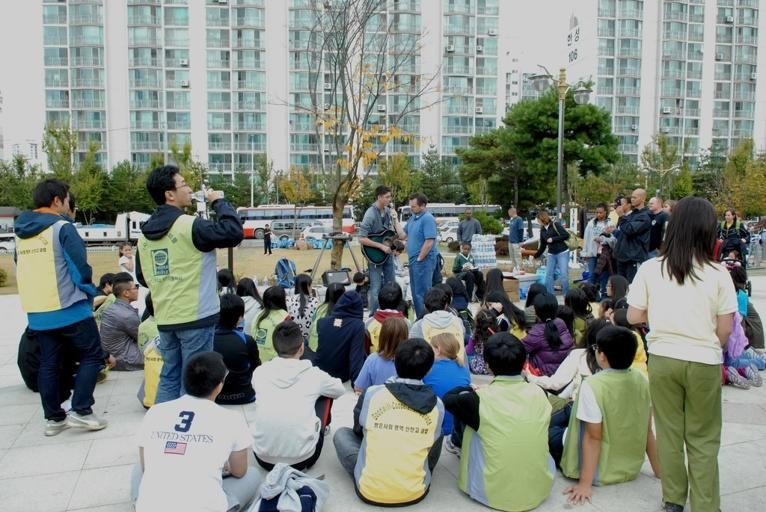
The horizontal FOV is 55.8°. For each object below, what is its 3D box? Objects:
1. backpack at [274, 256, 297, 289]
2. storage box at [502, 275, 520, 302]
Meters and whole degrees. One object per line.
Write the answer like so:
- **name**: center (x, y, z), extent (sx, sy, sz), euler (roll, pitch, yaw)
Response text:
- **backpack**: center (-2.135, 0.389, 15.872), extent (0.383, 0.734, 0.590), euler (-6, -3, 10)
- **storage box**: center (2.577, 0.682, 14.462), extent (0.520, 0.562, 0.401), euler (0, -3, -5)
